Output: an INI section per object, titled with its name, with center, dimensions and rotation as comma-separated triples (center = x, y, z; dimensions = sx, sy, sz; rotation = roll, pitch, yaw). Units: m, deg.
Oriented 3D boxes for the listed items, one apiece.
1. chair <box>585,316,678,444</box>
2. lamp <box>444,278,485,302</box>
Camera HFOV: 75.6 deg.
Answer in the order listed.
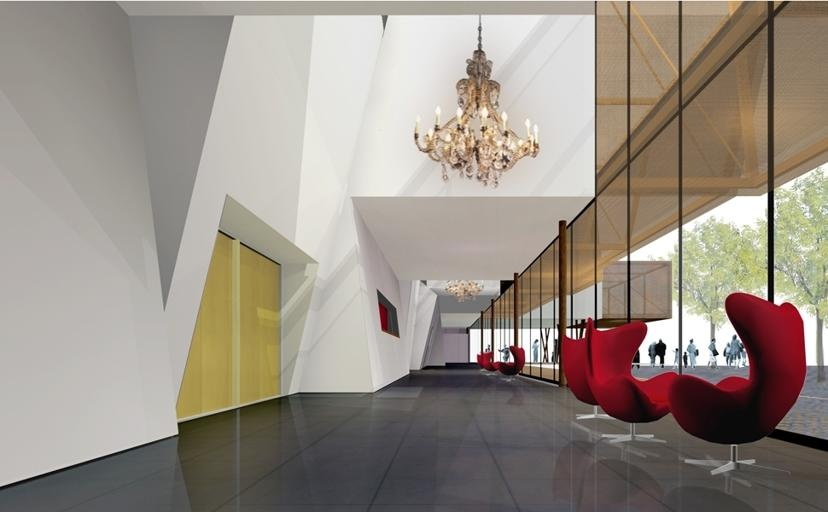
[chair]
center = 2.603, 1.492, 6.461
dimensions = 0.836, 1.449, 1.282
rotation = -8, -14, 24
[lamp]
center = 2.310, 1.466, 23.787
dimensions = 1.172, 0.563, 1.196
rotation = 2, -9, -13
